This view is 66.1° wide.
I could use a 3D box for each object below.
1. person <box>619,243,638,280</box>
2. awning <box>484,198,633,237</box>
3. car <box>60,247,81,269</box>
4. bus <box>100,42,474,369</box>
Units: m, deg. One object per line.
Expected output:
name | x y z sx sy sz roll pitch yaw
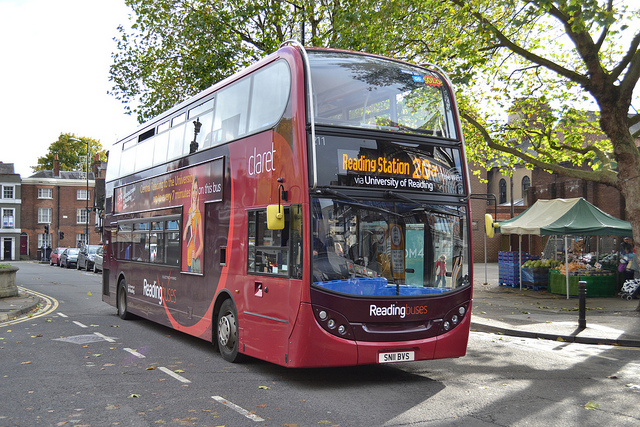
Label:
person | 13.526 2.094 21.402 0.645 1.473 1.837 0 -1 31
awning | 12.134 0.171 24.338 3.302 1.134 3.689 2 -5 -23
car | -24.433 4.192 47.626 1.793 1.416 3.915 3 -7 -28
bus | -2.091 0.141 14.721 5.101 5.975 13.900 2 -4 -32
